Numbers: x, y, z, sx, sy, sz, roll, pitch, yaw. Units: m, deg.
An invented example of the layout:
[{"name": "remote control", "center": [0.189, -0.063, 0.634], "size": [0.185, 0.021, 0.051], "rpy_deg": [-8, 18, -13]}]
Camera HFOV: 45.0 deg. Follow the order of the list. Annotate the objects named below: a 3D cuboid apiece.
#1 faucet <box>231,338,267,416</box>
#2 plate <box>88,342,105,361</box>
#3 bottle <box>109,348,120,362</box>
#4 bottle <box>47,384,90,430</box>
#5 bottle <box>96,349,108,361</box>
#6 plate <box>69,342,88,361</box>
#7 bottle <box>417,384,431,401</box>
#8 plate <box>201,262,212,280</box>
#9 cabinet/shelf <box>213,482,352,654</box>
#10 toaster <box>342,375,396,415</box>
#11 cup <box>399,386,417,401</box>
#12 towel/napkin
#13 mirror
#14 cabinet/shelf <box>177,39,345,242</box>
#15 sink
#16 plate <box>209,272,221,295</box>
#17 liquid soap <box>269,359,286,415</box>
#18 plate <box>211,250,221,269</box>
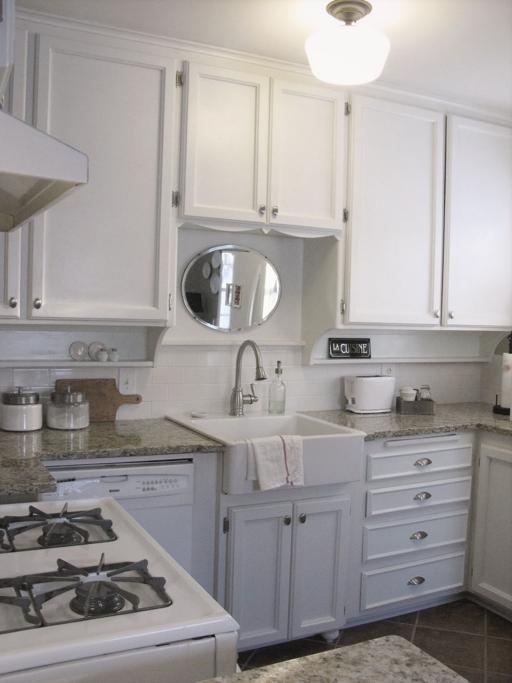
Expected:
[{"name": "faucet", "center": [-0.033, 0.169, 2.740], "size": [0.170, 0.347, 0.391], "rpy_deg": [0, 4, 1]}, {"name": "plate", "center": [-0.666, 0.046, 2.547], "size": [0.018, 0.067, 0.070], "rpy_deg": [2, -28, 46]}, {"name": "bottle", "center": [-0.583, 0.051, 2.569], "size": [0.041, 0.048, 0.050], "rpy_deg": [0, -5, -10]}, {"name": "bottle", "center": [-0.699, 0.242, 2.317], "size": [0.154, 0.161, 0.154], "rpy_deg": [3, 1, 42]}, {"name": "bottle", "center": [-0.624, 0.053, 2.511], "size": [0.048, 0.049, 0.047], "rpy_deg": [9, 11, 39]}, {"name": "plate", "center": [-0.726, 0.042, 2.533], "size": [0.074, 0.069, 0.018], "rpy_deg": [3, -4, -40]}, {"name": "bottle", "center": [0.842, 0.269, 3.109], "size": [0.081, 0.073, 0.064], "rpy_deg": [2, 0, -4]}, {"name": "plate", "center": [-0.223, -0.320, 2.794], "size": [0.044, 0.075, 0.009], "rpy_deg": [-3, 5, -35]}, {"name": "cabinet/shelf", "center": [0.065, 0.877, 2.433], "size": [0.534, 0.557, 0.297], "rpy_deg": [3, -3, -26]}, {"name": "toaster", "center": [0.553, 0.261, 3.077], "size": [0.205, 0.141, 0.200], "rpy_deg": [0, -2, -17]}, {"name": "cup", "center": [0.752, 0.254, 3.063], "size": [0.067, 0.052, 0.069], "rpy_deg": [-2, 12, 0]}, {"name": "towel/napkin", "center": [0.071, 0.424, 2.184], "size": [0.208, 0.191, 0.073], "rpy_deg": [-5, 3, -26]}, {"name": "mirror", "center": [-0.134, -0.246, 2.844], "size": [0.457, 0.351, 0.036], "rpy_deg": [-1, 3, -27]}, {"name": "cabinet/shelf", "center": [0.006, -0.847, 2.528], "size": [0.826, 0.650, 0.307], "rpy_deg": [0, 3, -23]}, {"name": "sink", "center": [0.104, 0.421, 2.488], "size": [0.414, 0.143, 0.422], "rpy_deg": [-1, 1, -24]}, {"name": "plate", "center": [-0.186, -0.260, 2.812], "size": [0.018, 0.075, 0.075], "rpy_deg": [2, 0, 27]}, {"name": "liquid soap", "center": [0.099, 0.212, 2.901], "size": [0.079, 0.249, 0.206], "rpy_deg": [1, 4, 3]}, {"name": "plate", "center": [-0.182, -0.369, 2.808], "size": [0.054, 0.072, 0.018], "rpy_deg": [18, 11, 40]}]
